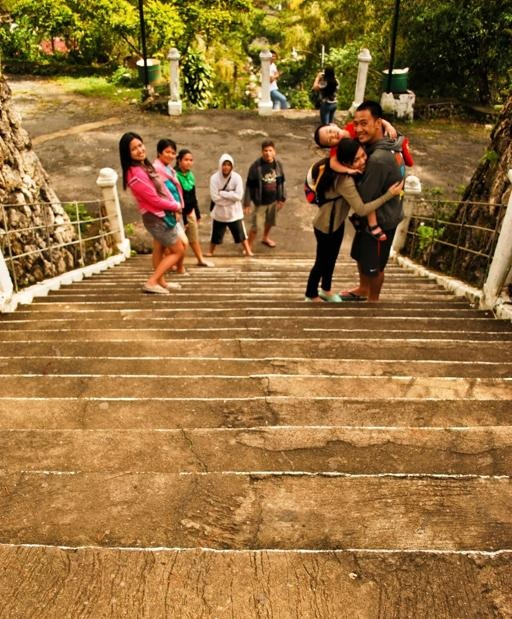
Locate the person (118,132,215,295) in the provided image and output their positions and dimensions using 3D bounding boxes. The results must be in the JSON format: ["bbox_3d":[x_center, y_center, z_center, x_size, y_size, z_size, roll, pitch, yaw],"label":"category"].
[{"bbox_3d":[-0.869,-0.779,4.947,0.497,1.526,0.849,-2,29,-7],"label":"person"}]

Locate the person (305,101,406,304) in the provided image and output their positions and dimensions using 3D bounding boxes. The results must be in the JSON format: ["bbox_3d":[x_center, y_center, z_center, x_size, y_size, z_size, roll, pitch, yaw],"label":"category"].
[{"bbox_3d":[0.700,-0.681,4.233,0.701,1.642,0.660,8,29,11],"label":"person"}]

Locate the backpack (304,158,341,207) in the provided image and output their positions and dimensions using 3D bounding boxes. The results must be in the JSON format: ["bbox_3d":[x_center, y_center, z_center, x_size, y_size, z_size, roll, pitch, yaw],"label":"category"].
[{"bbox_3d":[0.478,-0.932,4.173,0.220,0.367,0.262,3,40,3],"label":"backpack"}]

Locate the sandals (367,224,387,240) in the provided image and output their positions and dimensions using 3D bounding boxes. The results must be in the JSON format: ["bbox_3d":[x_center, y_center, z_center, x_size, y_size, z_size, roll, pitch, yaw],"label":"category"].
[{"bbox_3d":[0.848,-0.544,4.057,0.163,0.059,0.064,37,9,8],"label":"sandals"}]

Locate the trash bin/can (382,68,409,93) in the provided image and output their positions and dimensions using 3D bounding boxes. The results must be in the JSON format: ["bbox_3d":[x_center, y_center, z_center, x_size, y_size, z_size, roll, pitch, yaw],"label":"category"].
[{"bbox_3d":[3.240,-5.320,13.408,0.771,0.703,0.720,5,29,14],"label":"trash bin/can"}]
